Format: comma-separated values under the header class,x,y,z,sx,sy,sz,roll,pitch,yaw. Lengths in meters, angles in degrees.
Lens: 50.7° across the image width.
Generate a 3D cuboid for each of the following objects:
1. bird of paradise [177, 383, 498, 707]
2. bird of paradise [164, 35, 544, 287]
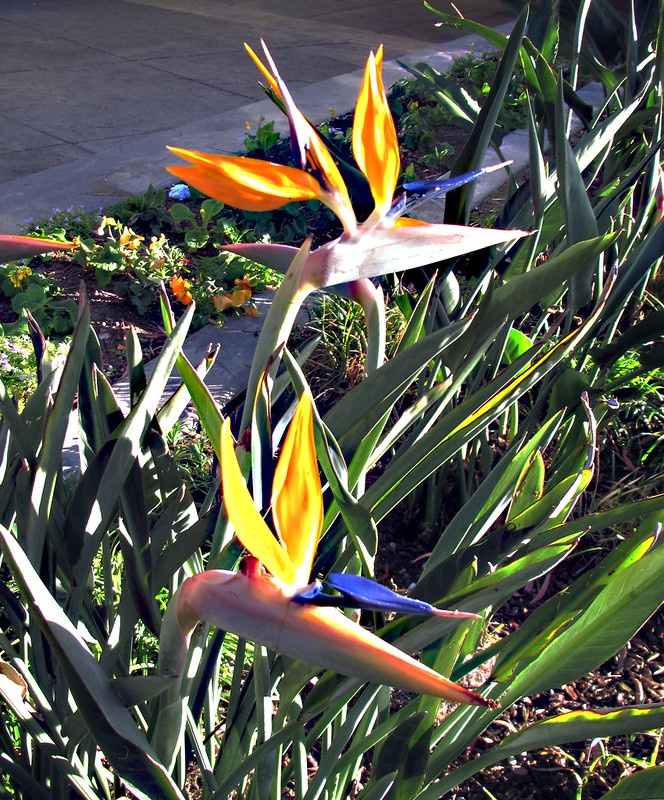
class,x,y,z,sx,sy,sz,roll,pitch,yaw
bird of paradise,0.002,0.119,0.440,0.109,0.218,0.187,-22,43,-40
bird of paradise,0.000,-0.205,0.713,0.313,0.316,0.123,-20,40,-9
